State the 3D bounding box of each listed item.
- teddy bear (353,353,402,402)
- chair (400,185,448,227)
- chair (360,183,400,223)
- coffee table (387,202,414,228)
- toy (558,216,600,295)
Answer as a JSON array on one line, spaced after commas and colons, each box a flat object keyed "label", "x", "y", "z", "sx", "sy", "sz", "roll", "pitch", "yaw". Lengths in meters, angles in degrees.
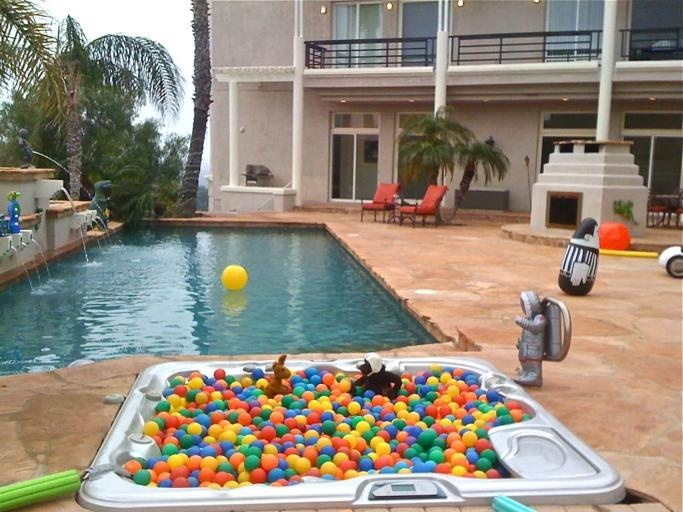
[{"label": "teddy bear", "x": 0.261, "y": 0.887, "z": 3.865, "sx": 0.355, "sy": 0.439, "sz": 0.228, "roll": 6, "pitch": 18, "yaw": 23}, {"label": "chair", "x": 2.109, "y": -1.352, "z": 14.288, "sx": 1.453, "sy": 1.522, "sz": 1.008, "roll": -1, "pitch": 3, "yaw": -29}, {"label": "chair", "x": 1.119, "y": -1.539, "z": 15.283, "sx": 0.908, "sy": 1.197, "sz": 1.109, "roll": 5, "pitch": 6, "yaw": 20}, {"label": "coffee table", "x": 1.685, "y": -1.168, "z": 15.483, "sx": 0.839, "sy": 0.688, "sz": 0.772, "roll": 0, "pitch": 1, "yaw": 10}, {"label": "toy", "x": 2.885, "y": 0.009, "z": 6.479, "sx": 0.402, "sy": 0.978, "sz": 0.415, "roll": 7, "pitch": 13, "yaw": 18}]
